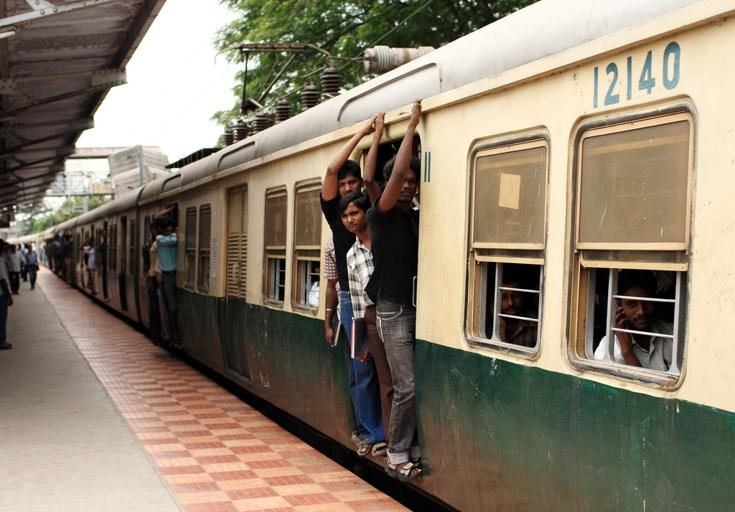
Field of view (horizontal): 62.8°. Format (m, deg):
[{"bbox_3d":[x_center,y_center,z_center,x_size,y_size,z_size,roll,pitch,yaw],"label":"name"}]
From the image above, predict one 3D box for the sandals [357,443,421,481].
[{"bbox_3d":[0.173,1.618,4.822,0.186,0.169,0.566,-1,-2,-37],"label":"sandals"}]
